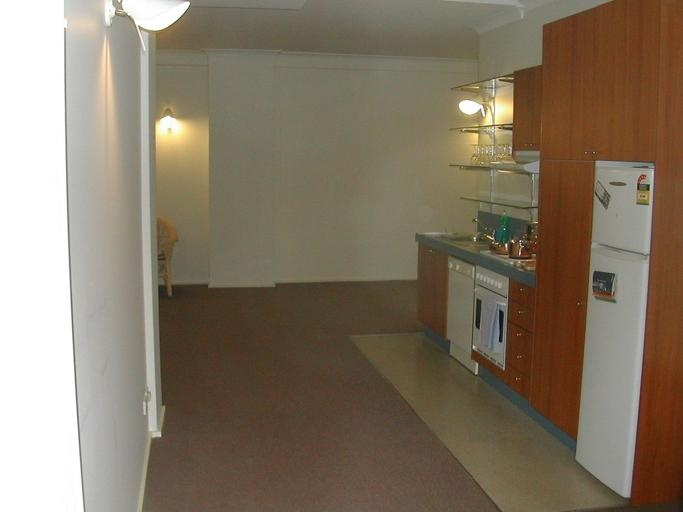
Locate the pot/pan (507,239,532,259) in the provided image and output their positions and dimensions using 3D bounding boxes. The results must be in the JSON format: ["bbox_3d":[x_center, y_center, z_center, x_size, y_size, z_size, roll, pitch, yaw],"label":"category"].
[{"bbox_3d":[1.397,-0.051,4.343,0.124,0.135,0.170,0,0,28],"label":"pot/pan"}]

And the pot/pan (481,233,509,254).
[{"bbox_3d":[1.258,-0.089,4.550,0.204,0.124,0.165,-1,11,2],"label":"pot/pan"}]

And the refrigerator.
[{"bbox_3d":[1.445,0.404,2.977,0.128,1.738,0.423,-2,9,-16],"label":"refrigerator"}]

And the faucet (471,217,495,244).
[{"bbox_3d":[1.446,-0.262,5.608,0.213,0.339,0.319,-3,7,-17],"label":"faucet"}]
